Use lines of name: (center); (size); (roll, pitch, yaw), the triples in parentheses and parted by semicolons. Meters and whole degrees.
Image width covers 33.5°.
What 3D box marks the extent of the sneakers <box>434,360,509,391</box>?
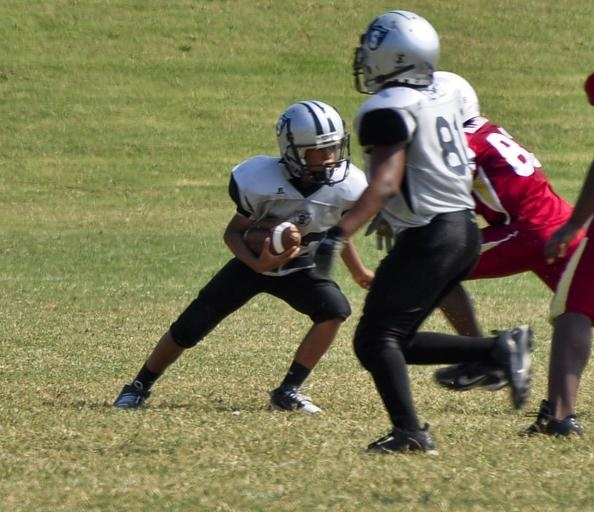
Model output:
sneakers: (0.843, 0.576, 4.695); (0.423, 0.129, 0.102); (3, 49, 5)

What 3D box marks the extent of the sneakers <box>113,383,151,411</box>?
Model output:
sneakers: (-0.861, 0.731, 5.179); (0.090, 0.087, 0.222); (33, 21, 12)

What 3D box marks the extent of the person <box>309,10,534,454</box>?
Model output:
person: (0.609, -0.127, 4.441); (0.919, 1.921, 0.870); (1, 17, 11)

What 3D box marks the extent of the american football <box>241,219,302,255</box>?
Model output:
american football: (-0.131, -0.089, 4.989); (0.322, 0.171, 0.230); (1, 14, 9)

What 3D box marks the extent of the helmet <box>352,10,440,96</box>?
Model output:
helmet: (0.457, -0.920, 4.478); (0.516, 0.309, 0.407); (12, 21, 30)

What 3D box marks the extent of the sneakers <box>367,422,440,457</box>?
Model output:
sneakers: (0.480, 0.821, 4.340); (0.395, 0.113, 0.106); (2, -6, 5)

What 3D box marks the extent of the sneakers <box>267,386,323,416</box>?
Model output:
sneakers: (-0.026, 0.744, 5.137); (0.363, 0.110, 0.092); (8, 39, 9)
